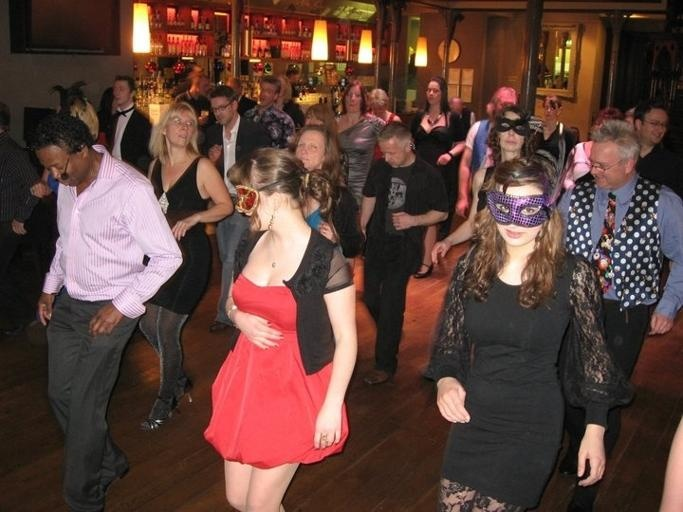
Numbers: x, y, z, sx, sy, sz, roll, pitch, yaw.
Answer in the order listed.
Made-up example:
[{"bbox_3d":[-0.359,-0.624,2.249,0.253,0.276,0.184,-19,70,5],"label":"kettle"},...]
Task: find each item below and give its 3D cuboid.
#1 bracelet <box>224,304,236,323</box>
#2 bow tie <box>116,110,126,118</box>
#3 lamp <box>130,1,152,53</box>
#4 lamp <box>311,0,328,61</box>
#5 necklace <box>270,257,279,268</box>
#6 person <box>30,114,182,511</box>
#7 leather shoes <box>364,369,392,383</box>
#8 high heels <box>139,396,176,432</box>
[{"bbox_3d":[-0.497,0.248,2.434,0.066,0.086,0.031,-3,6,-29],"label":"bracelet"},{"bbox_3d":[-2.345,-1.534,5.856,0.141,0.064,0.039,-4,-8,31],"label":"bow tie"},{"bbox_3d":[-3.035,-3.454,8.213,0.278,0.718,0.705,-5,17,-20],"label":"lamp"},{"bbox_3d":[-0.396,-3.992,10.046,0.274,0.679,0.320,-1,16,-8],"label":"lamp"},{"bbox_3d":[-0.286,0.032,2.321,0.036,0.029,0.016,2,-5,11],"label":"necklace"},{"bbox_3d":[-1.267,0.337,2.977,0.672,2.150,0.675,-8,19,-30],"label":"person"},{"bbox_3d":[0.297,0.976,4.445,0.195,0.076,0.100,7,-4,-32],"label":"leather shoes"},{"bbox_3d":[-1.285,1.075,3.858,0.114,0.133,0.318,12,28,16],"label":"high heels"}]
